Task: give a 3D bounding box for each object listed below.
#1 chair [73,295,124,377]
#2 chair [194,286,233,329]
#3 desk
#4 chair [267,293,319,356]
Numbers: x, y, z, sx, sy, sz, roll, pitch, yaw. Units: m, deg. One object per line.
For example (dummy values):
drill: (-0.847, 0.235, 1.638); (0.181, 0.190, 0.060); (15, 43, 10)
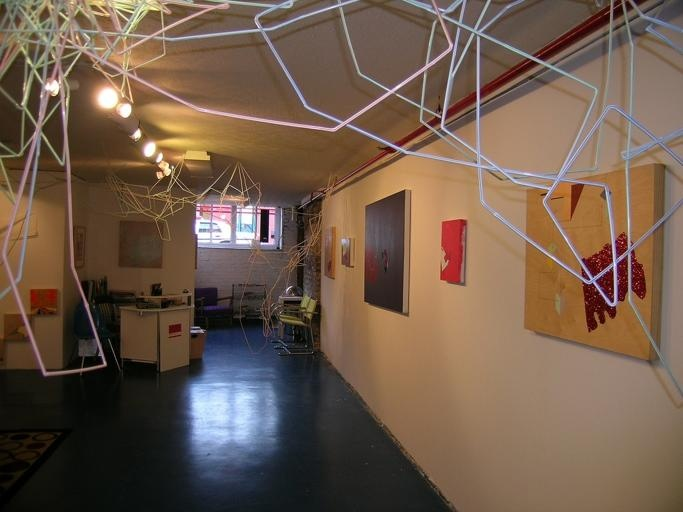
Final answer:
chair: (-3.527, 1.115, 6.982); (0.575, 0.914, 1.624); (-1, 4, -29)
chair: (-2.812, 1.140, 10.775); (0.802, 1.099, 0.804); (0, -1, -31)
desk: (-2.636, 1.075, 7.108); (0.811, 1.006, 0.988); (-1, -2, 24)
chair: (-0.873, 1.125, 8.661); (0.770, 0.911, 1.997); (1, 3, -8)
